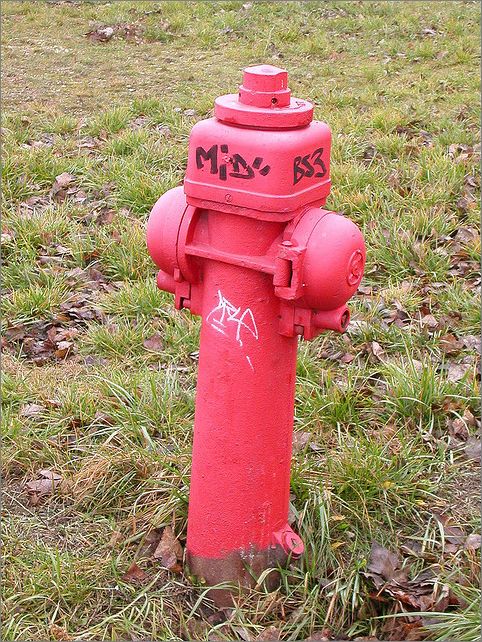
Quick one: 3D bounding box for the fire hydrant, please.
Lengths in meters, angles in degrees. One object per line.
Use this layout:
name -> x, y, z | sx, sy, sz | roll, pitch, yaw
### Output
fire hydrant -> 0.055, 0.051, 2.094 | 0.583, 1.557, 0.572 | -6, 28, -6
